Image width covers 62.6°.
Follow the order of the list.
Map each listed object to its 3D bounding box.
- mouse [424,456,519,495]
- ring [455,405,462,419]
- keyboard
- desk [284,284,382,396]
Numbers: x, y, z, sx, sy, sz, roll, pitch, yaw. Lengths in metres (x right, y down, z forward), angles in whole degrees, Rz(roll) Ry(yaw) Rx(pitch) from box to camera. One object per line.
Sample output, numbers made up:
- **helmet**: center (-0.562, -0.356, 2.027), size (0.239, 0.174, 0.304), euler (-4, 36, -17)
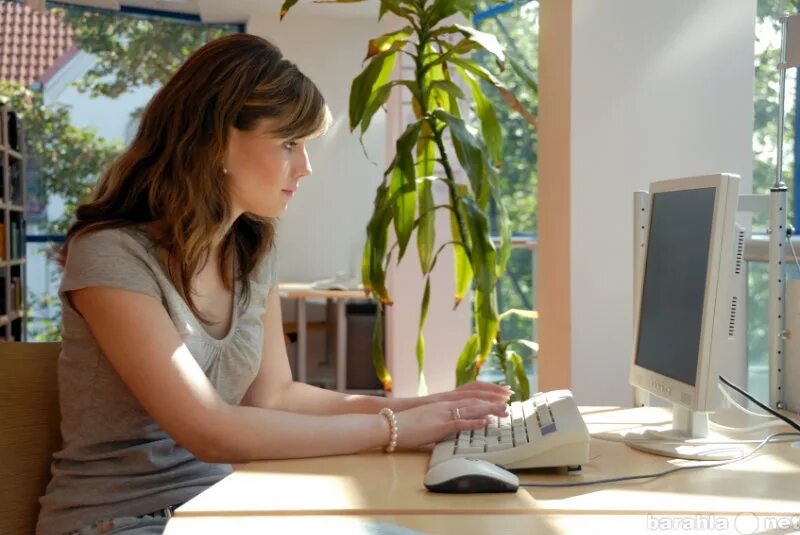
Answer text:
- **mouse**: center (0.135, 0.423, 1.316), size (0.145, 0.045, 0.082), euler (-2, 3, -3)
- **ring**: center (0.133, 0.346, 1.556), size (0.014, 0.018, 0.020), euler (0, -5, 1)
- **keyboard**: center (0.227, 0.369, 1.600), size (0.304, 0.109, 0.418), euler (1, 9, -7)
- **desk**: center (-0.494, 0.477, 4.820), size (0.792, 0.770, 0.783), euler (0, 3, -2)
